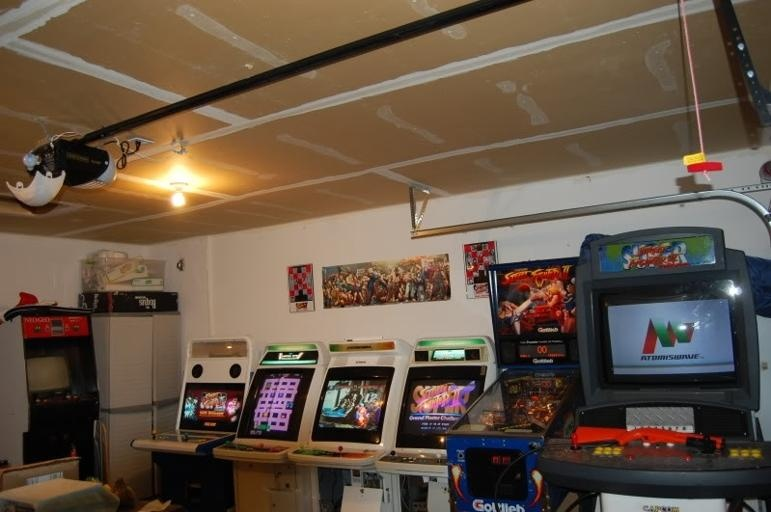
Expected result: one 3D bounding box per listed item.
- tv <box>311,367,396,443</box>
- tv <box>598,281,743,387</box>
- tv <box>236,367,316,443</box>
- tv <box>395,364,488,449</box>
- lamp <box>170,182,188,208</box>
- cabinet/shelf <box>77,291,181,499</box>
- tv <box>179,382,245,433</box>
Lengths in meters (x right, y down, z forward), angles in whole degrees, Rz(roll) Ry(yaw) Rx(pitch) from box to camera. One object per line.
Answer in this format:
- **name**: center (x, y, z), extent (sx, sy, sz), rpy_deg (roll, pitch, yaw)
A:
- **tv**: center (-0.217, 1.420, 5.103), extent (0.923, 0.804, 0.360), rpy_deg (-11, -27, 38)
- **tv**: center (1.790, 0.538, 3.790), extent (1.194, 0.760, 0.633), rpy_deg (-1, -2, -14)
- **tv**: center (-0.958, 1.537, 5.503), extent (0.946, 0.844, 0.465), rpy_deg (-10, -30, 37)
- **tv**: center (0.495, 1.291, 4.543), extent (0.628, 0.569, 0.326), rpy_deg (-3, -36, 24)
- **lamp**: center (-2.032, -0.615, 5.286), extent (0.178, 0.235, 0.175), rpy_deg (9, 11, 28)
- **cabinet/shelf**: center (-3.502, 2.026, 7.193), extent (0.910, 2.557, 1.196), rpy_deg (-7, -11, 17)
- **tv**: center (-1.883, 1.614, 5.763), extent (0.120, 0.527, 0.896), rpy_deg (-10, -20, 29)
